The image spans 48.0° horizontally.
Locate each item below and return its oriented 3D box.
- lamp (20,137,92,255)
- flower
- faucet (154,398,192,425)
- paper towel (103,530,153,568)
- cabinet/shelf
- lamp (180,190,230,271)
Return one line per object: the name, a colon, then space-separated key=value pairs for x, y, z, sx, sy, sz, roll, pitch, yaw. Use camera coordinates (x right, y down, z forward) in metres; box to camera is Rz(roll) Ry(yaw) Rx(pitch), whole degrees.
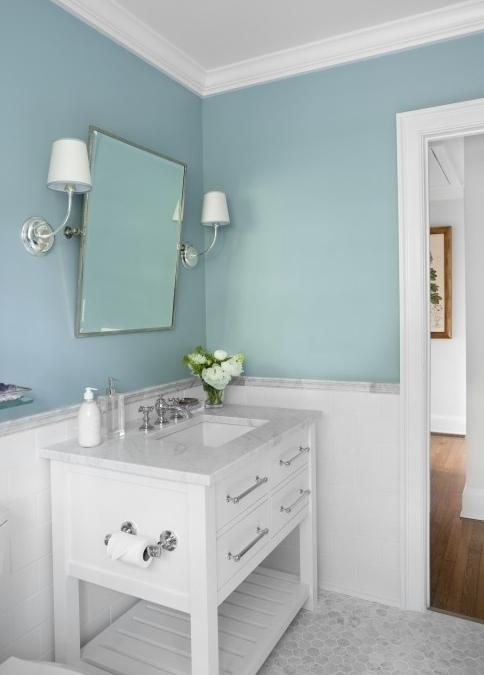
lamp: x=-0.535 y=-0.434 z=1.681 sx=0.195 sy=0.363 sz=0.237 roll=0 pitch=3 yaw=17
flower: x=-0.122 y=0.171 z=2.360 sx=0.239 sy=0.253 sz=0.160 roll=-1 pitch=3 yaw=13
faucet: x=-0.298 y=0.291 z=2.109 sx=0.184 sy=0.119 sz=0.074 roll=-3 pitch=-1 yaw=40
paper towel: x=-0.301 y=0.548 z=1.408 sx=0.100 sy=0.055 sz=0.099 roll=2 pitch=-3 yaw=16
cabinet/shelf: x=-0.191 y=0.497 z=1.918 sx=0.699 sy=0.916 sz=1.110 roll=-1 pitch=1 yaw=25
lamp: x=-0.154 y=-0.495 z=2.487 sx=0.212 sy=0.360 sz=0.245 roll=-1 pitch=3 yaw=11
